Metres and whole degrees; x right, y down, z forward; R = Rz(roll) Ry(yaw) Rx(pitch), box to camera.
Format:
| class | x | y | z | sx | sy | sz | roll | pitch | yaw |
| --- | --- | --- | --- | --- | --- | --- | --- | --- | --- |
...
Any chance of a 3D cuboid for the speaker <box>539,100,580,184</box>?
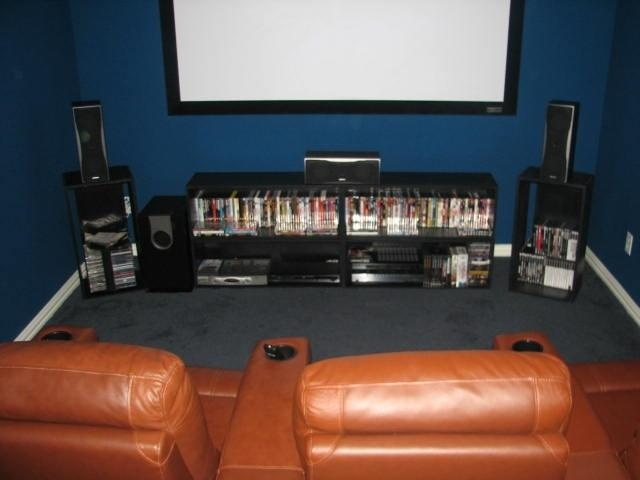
| class | x | y | z | sx | sy | sz | roll | pitch | yaw |
| --- | --- | --- | --- | --- | --- | --- | --- | --- | --- |
| speaker | 1.648 | -0.661 | 3.493 | 0.219 | 0.542 | 0.158 | 3 | 13 | 12 |

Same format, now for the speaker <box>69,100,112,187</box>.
| class | x | y | z | sx | sy | sz | roll | pitch | yaw |
| --- | --- | --- | --- | --- | --- | --- | --- | --- | --- |
| speaker | -1.617 | -0.681 | 3.612 | 0.188 | 0.567 | 0.104 | -4 | 14 | -19 |

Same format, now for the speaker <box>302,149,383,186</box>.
| class | x | y | z | sx | sy | sz | roll | pitch | yaw |
| --- | --- | --- | --- | --- | --- | --- | --- | --- | --- |
| speaker | 0.170 | -0.475 | 3.849 | 0.556 | 0.224 | 0.170 | 1 | -16 | 5 |

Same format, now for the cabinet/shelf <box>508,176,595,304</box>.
| class | x | y | z | sx | sy | sz | roll | pitch | yaw |
| --- | --- | --- | --- | --- | --- | --- | --- | --- | --- |
| cabinet/shelf | 1.645 | -0.014 | 3.711 | 0.448 | 0.856 | 0.290 | 10 | 16 | 32 |

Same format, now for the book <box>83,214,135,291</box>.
| class | x | y | z | sx | sy | sz | roll | pitch | yaw |
| --- | --- | --- | --- | --- | --- | --- | --- | --- | --- |
| book | -1.615 | 0.125 | 3.896 | 0.395 | 0.579 | 0.150 | -6 | 10 | -10 |

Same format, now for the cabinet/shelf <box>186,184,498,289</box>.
| class | x | y | z | sx | sy | sz | roll | pitch | yaw |
| --- | --- | --- | --- | --- | --- | --- | --- | --- | --- |
| cabinet/shelf | 0.190 | -0.020 | 4.144 | 2.311 | 0.857 | 0.512 | 0 | -1 | 4 |

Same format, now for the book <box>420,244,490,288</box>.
| class | x | y | z | sx | sy | sz | roll | pitch | yaw |
| --- | --- | --- | --- | --- | --- | --- | --- | --- | --- |
| book | 1.074 | 0.205 | 4.193 | 0.567 | 0.322 | 0.553 | 0 | 3 | 5 |

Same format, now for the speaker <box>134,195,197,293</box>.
| class | x | y | z | sx | sy | sz | roll | pitch | yaw |
| --- | --- | --- | --- | --- | --- | --- | --- | --- | --- |
| speaker | -1.156 | -0.053 | 4.154 | 0.431 | 0.781 | 0.682 | 3 | 35 | 2 |
